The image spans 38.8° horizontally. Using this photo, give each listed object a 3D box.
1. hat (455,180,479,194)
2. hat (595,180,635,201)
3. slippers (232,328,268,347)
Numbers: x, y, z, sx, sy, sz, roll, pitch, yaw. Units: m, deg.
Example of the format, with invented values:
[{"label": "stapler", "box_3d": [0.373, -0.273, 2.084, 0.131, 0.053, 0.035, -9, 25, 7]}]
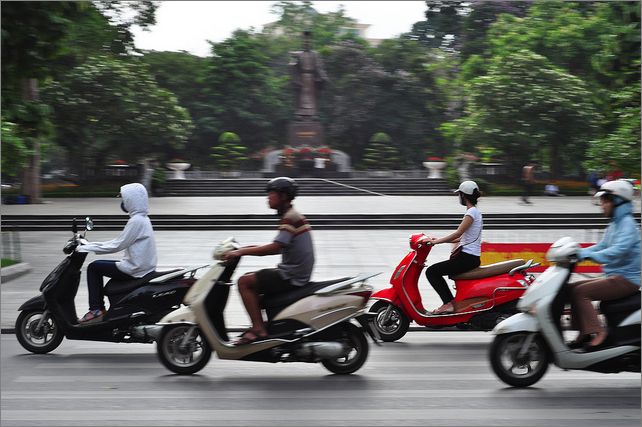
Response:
[{"label": "hat", "box_3d": [3.572, -0.623, 22.023, 0.626, 0.175, 0.349, 3, 6, 10]}, {"label": "hat", "box_3d": [6.685, -0.531, 20.471, 1.040, 0.261, 0.459, 0, 0, 5]}, {"label": "slippers", "box_3d": [-1.616, 2.789, 20.505, 0.766, 0.361, 0.187, 1, 8, -3]}]
